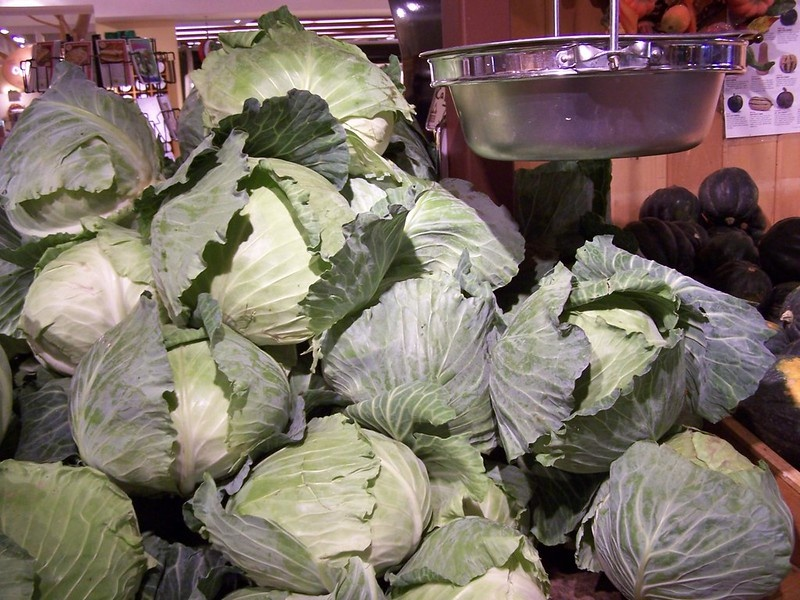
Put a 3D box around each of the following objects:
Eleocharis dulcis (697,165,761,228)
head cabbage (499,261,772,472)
[{"bbox_3d":[1.474,-0.460,2.673,0.262,0.261,0.151,5,12,19],"label":"Eleocharis dulcis"},{"bbox_3d":[0.629,0.119,1.560,0.574,0.293,0.565,-27,28,-5],"label":"head cabbage"}]
